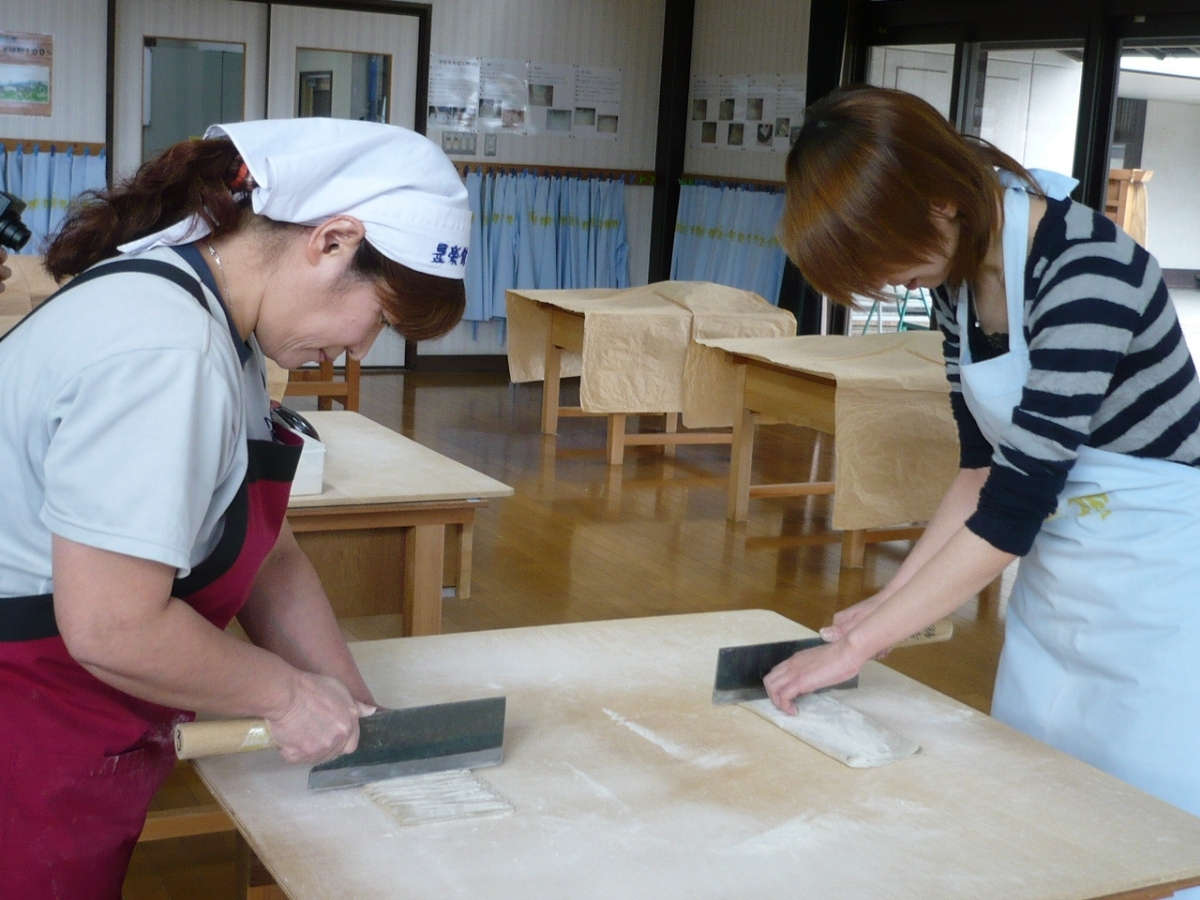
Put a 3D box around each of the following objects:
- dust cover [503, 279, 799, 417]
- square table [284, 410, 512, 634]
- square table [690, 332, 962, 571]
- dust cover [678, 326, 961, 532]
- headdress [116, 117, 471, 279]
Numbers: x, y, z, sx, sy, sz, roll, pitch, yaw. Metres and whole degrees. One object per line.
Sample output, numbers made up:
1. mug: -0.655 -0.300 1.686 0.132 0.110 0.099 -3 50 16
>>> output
1. dust cover: 0.380 -0.756 6.638 1.424 0.769 1.390 -4 13 -21
2. square table: -0.638 0.118 2.618 0.504 0.344 0.679 -4 20 -27
3. square table: 1.243 -0.112 5.087 1.290 0.747 1.250 -2 7 -15
4. dust cover: 1.167 -0.139 4.786 1.178 0.643 1.137 1 11 -11
5. headdress: -0.328 -0.292 1.059 0.315 0.147 0.215 -4 17 -23
